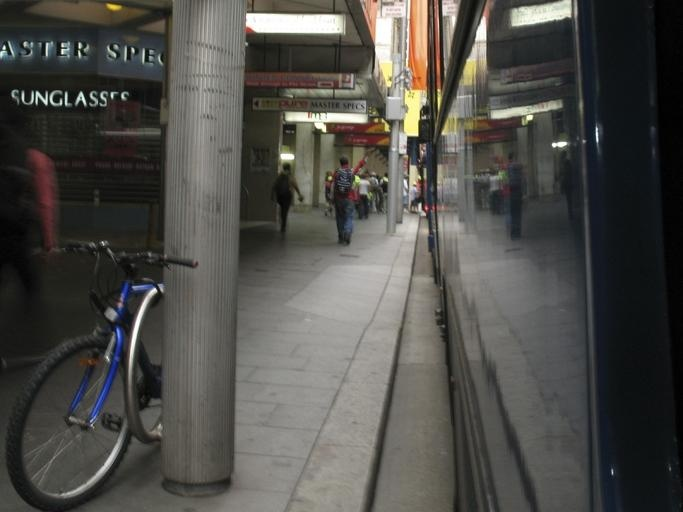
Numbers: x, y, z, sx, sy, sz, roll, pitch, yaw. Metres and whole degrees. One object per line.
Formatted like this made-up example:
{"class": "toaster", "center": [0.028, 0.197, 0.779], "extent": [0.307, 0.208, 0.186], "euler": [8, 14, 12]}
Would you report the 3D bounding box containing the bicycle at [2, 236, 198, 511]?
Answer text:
{"class": "bicycle", "center": [-1.197, 0.539, 3.178], "extent": [0.783, 1.236, 0.677], "euler": [-4, 4, -31]}
